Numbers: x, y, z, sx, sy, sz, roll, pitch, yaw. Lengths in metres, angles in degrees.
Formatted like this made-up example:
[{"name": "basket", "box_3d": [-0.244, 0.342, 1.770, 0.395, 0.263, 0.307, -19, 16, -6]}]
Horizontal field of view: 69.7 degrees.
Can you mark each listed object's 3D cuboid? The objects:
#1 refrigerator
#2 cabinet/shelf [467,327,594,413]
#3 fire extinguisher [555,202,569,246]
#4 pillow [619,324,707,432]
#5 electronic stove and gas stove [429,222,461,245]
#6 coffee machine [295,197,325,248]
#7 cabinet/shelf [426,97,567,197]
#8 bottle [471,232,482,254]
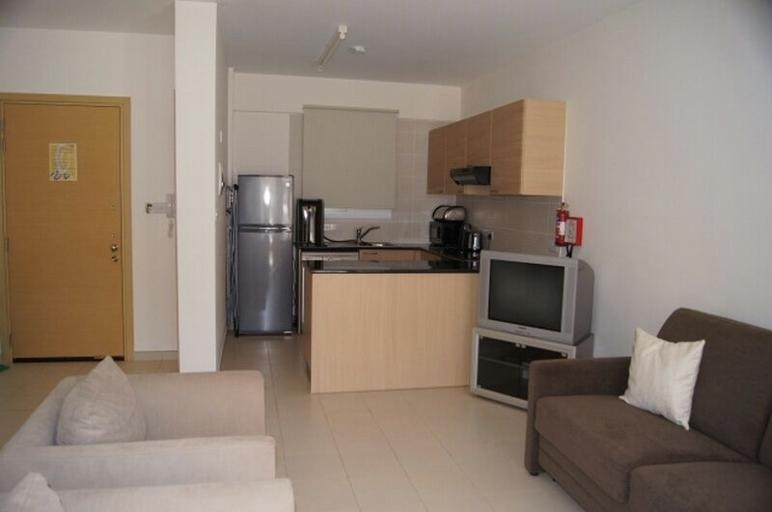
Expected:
[{"name": "refrigerator", "box_3d": [-1.519, 0.015, 6.819, 0.777, 1.943, 0.369, -3, 14, -14]}, {"name": "cabinet/shelf", "box_3d": [1.319, 1.017, 5.138, 0.977, 0.690, 0.559, 7, 12, 35]}, {"name": "fire extinguisher", "box_3d": [1.711, -0.303, 5.392, 0.124, 0.427, 0.249, 4, 14, 15]}, {"name": "pillow", "box_3d": [1.878, 0.842, 3.730, 0.300, 0.547, 0.574, -5, 10, -30]}, {"name": "electronic stove and gas stove", "box_3d": [0.749, -0.297, 7.305, 0.241, 0.339, 0.499, -11, 17, -40]}, {"name": "coffee machine", "box_3d": [-1.004, -0.469, 7.238, 0.341, 0.613, 0.444, 1, 24, -8]}, {"name": "cabinet/shelf", "box_3d": [1.150, -1.131, 6.100, 0.502, 1.069, 1.922, -5, 14, -24]}, {"name": "bottle", "box_3d": [1.071, -0.161, 6.623, 0.166, 0.239, 0.085, 3, 1, 3]}]
